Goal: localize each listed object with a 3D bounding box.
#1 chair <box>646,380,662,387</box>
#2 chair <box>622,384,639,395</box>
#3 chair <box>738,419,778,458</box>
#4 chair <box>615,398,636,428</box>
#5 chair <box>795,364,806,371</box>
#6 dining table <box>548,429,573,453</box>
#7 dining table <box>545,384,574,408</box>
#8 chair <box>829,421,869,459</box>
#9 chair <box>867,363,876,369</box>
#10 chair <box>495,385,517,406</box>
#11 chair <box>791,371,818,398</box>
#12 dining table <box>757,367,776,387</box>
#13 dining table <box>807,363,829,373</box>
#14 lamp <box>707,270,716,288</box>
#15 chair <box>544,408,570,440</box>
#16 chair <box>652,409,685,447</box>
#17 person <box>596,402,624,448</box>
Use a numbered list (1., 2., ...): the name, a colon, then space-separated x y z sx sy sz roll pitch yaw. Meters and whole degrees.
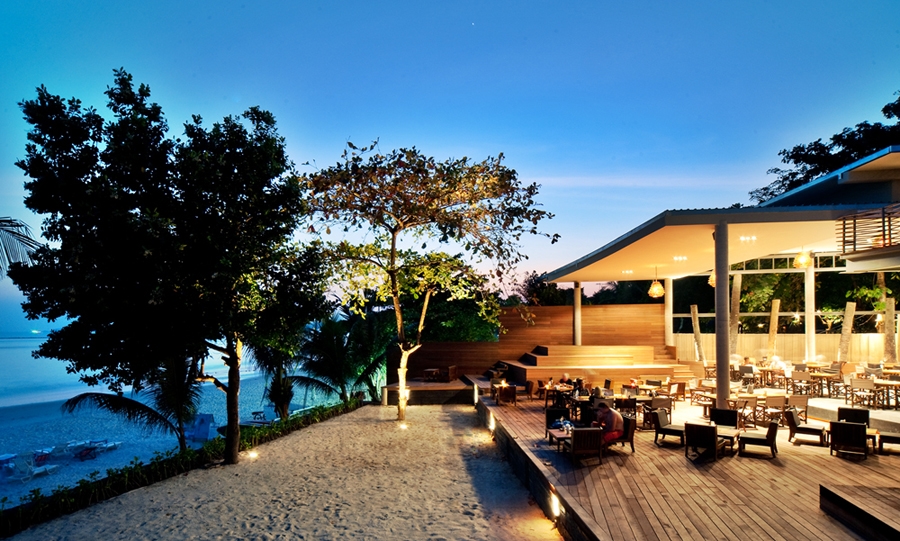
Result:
1. chair: 9.731 5.400 26.748 0.616 0.359 0.701 0 -9 -9
2. chair: 8.287 5.462 25.711 0.628 0.504 1.228 -3 -9 6
3. chair: 11.575 6.272 20.850 1.644 1.430 1.223 -1 -6 26
4. chair: 7.467 5.806 23.455 0.950 1.184 0.861 0 0 10
5. chair: 17.791 4.874 28.339 0.420 0.248 0.395 -1 -3 -25
6. dining table: 4.238 6.446 21.369 0.884 0.580 1.343 2 -8 -2
7. dining table: 5.162 5.788 26.108 1.103 0.834 1.790 0 -8 5
8. chair: 14.240 6.014 19.982 1.136 1.262 0.683 -6 -9 25
9. chair: 20.646 4.634 27.328 0.276 0.163 0.271 -2 -2 6
10. chair: 2.796 6.145 28.010 0.806 0.643 1.010 1 -1 0
11. chair: 17.206 5.472 27.087 1.222 1.586 1.171 0 0 -44
12. dining table: 16.771 5.589 29.648 1.093 1.005 1.075 -1 -7 5
13. dining table: 19.053 4.973 29.010 0.854 0.417 2.242 -7 -11 33
14. lamp: 14.342 0.386 30.716 0.464 0.985 0.729 -1 32 21
15. chair: 4.325 6.092 22.606 1.127 1.496 1.134 2 -10 -6
16. chair: 8.422 6.057 21.597 1.295 1.268 1.274 -3 -2 31
17. person: 6.100 5.721 21.258 1.056 1.375 1.246 -3 -6 32
